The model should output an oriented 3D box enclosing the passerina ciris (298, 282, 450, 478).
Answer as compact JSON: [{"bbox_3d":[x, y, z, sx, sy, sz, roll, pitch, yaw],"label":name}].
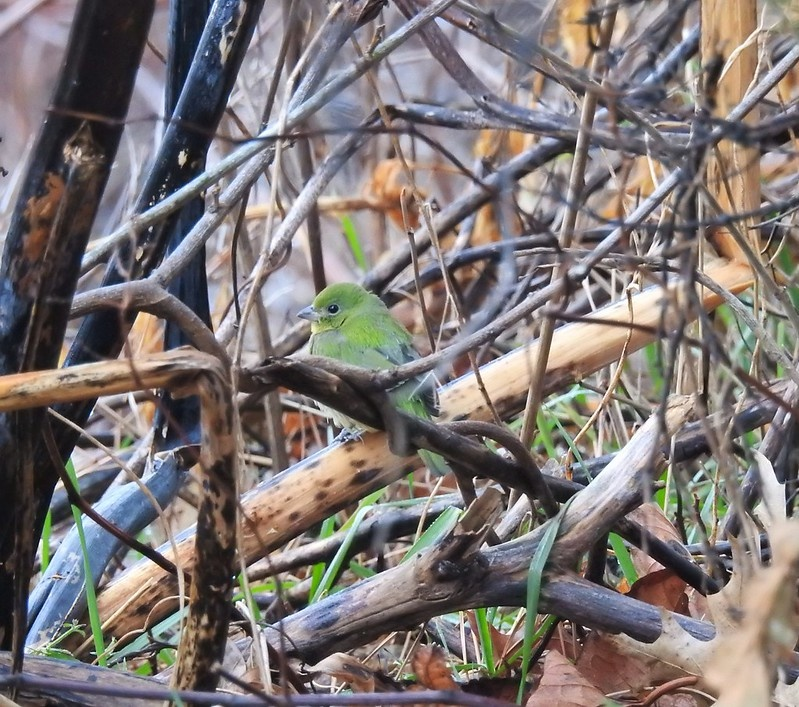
[{"bbox_3d":[-0.069,0.045,5.023,1.025,0.719,0.480,13,16,29],"label":"passerina ciris"}]
